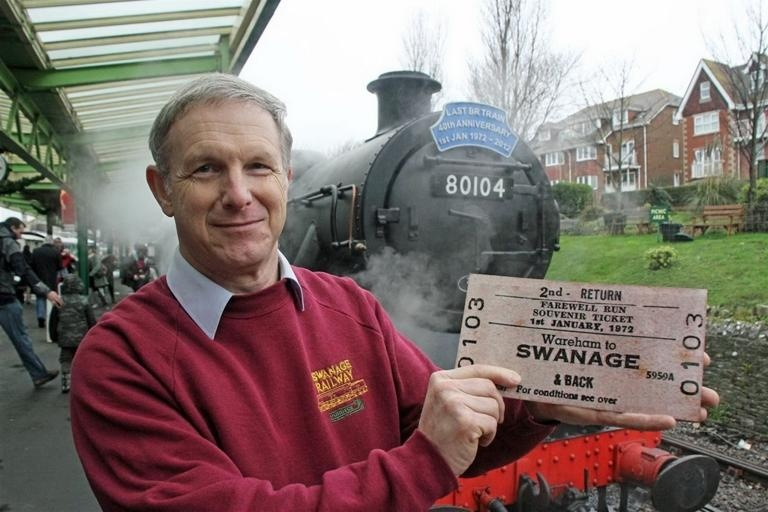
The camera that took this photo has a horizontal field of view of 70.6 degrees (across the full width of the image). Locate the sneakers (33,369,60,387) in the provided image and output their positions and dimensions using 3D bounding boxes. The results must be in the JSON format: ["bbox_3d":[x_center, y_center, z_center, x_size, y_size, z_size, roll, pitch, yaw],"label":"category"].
[{"bbox_3d":[-4.644,1.666,7.424,0.300,0.150,0.101,-34,14,-12],"label":"sneakers"}]
